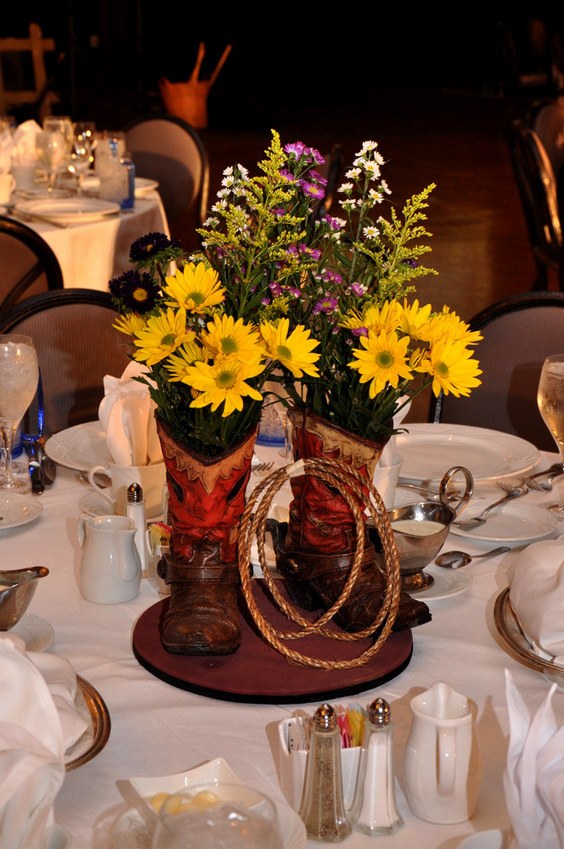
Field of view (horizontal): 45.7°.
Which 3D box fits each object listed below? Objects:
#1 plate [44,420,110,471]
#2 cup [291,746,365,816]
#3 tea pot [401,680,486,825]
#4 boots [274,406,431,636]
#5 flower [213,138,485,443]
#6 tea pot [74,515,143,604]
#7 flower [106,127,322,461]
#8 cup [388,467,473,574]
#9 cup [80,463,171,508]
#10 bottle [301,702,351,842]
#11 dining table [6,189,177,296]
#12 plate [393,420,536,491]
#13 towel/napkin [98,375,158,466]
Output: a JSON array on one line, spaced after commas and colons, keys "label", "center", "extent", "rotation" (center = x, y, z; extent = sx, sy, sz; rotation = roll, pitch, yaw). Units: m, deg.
[{"label": "plate", "center": [-0.341, 0.041, 1.134], "extent": [0.099, 0.024, 0.099], "rotation": [9, 35, 15]}, {"label": "cup", "center": [0.026, 0.218, 0.426], "extent": [0.045, 0.045, 0.049], "rotation": [1, -15, 0]}, {"label": "tea pot", "center": [0.104, 0.217, 0.442], "extent": [0.046, 0.078, 0.045], "rotation": [1, 8, 0]}, {"label": "boots", "center": [0.072, 0.106, 0.708], "extent": [0.218, 0.202, 0.098], "rotation": [13, 10, 43]}, {"label": "flower", "center": [0.063, -0.123, 0.683], "extent": [0.273, 0.327, 0.254], "rotation": [-3, 29, -3]}, {"label": "tea pot", "center": [-0.211, 0.152, 0.782], "extent": [0.107, 0.090, 0.067], "rotation": [15, 15, 42]}, {"label": "flower", "center": [-0.057, -0.063, 0.644], "extent": [0.192, 0.263, 0.182], "rotation": [-1, 15, -22]}, {"label": "cup", "center": [0.169, 0.122, 0.855], "extent": [0.089, 0.111, 0.184], "rotation": [7, 15, 31]}, {"label": "cup", "center": [-0.219, 0.076, 0.949], "extent": [0.110, 0.072, 0.069], "rotation": [-5, 16, -8]}, {"label": "bottle", "center": [0.027, 0.214, 0.407], "extent": [0.032, 0.085, 0.020], "rotation": [2, 8, 6]}, {"label": "dining table", "center": [-0.818, -0.768, 2.923], "extent": [0.845, 0.311, 0.885], "rotation": [2, 13, 1]}, {"label": "plate", "center": [0.328, 0.025, 1.216], "extent": [0.173, 0.018, 0.172], "rotation": [9, 19, 28]}, {"label": "towel/napkin", "center": [-0.218, -0.001, 0.956], "extent": [0.130, 0.121, 0.046], "rotation": [-8, -4, -6]}]
